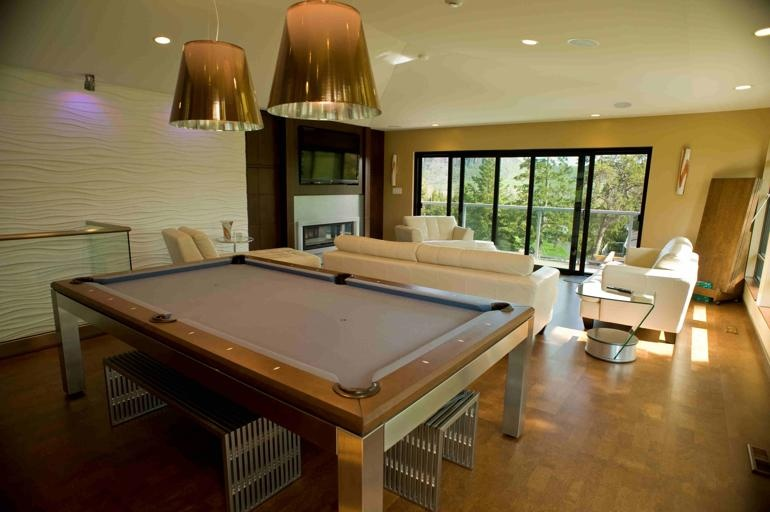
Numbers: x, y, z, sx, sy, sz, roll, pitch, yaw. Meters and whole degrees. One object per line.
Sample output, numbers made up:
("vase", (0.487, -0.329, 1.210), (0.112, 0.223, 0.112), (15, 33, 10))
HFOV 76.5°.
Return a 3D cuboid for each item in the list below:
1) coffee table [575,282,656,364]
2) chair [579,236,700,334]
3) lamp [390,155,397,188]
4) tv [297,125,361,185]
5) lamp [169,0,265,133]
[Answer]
("coffee table", (2.487, 0.763, 5.559), (0.859, 0.767, 0.864), (13, 23, 34))
("chair", (3.456, 0.324, 6.574), (1.240, 1.029, 2.165), (5, 11, 32))
("lamp", (0.198, -1.828, 10.531), (0.188, 0.705, 0.092), (5, 13, 12))
("tv", (-1.091, -1.864, 8.985), (0.136, 0.770, 1.407), (7, 9, 34))
("lamp", (-1.246, -1.238, 3.516), (0.602, 0.583, 0.272), (4, 12, 9))
